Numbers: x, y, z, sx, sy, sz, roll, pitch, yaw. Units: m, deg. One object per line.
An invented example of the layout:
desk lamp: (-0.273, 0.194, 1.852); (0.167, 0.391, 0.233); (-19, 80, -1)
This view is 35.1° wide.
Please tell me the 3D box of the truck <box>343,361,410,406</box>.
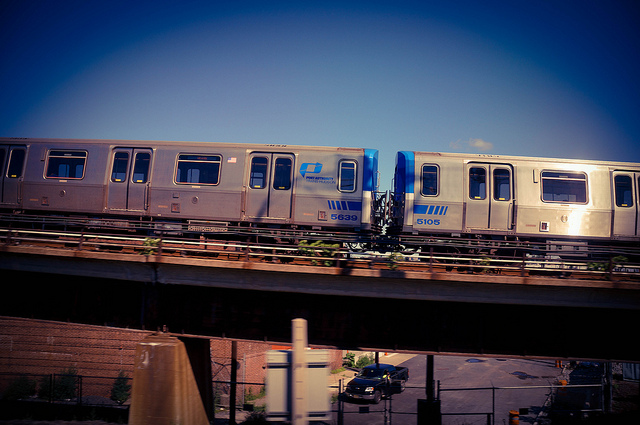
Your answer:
truck: (3.583, 10.056, 59.397); (2.045, 1.424, 5.069); (-2, -8, 29)

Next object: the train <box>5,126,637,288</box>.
train: (-0.414, -0.073, 51.759); (32.859, 6.947, 4.444); (2, -6, 2)
